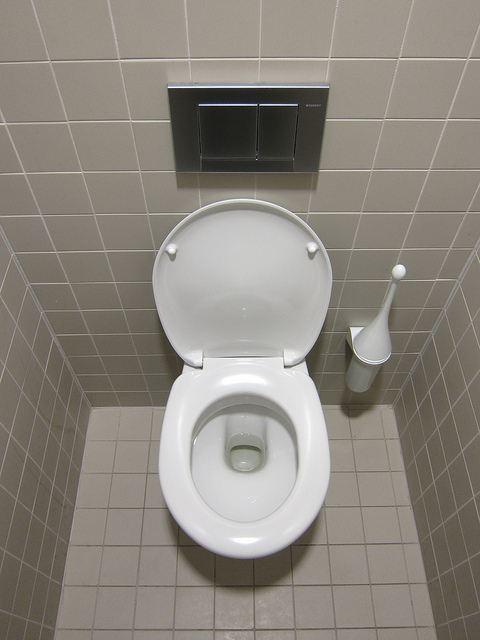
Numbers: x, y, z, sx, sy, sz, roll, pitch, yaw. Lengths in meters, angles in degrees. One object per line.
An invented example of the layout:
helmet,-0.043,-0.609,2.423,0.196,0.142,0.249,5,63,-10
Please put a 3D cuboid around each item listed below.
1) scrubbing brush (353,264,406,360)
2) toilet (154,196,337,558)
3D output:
scrubbing brush,0.344,-0.019,1.032,0.098,0.293,0.075,20,49,16
toilet,0.012,0.119,1.002,0.283,0.760,0.754,0,58,1
